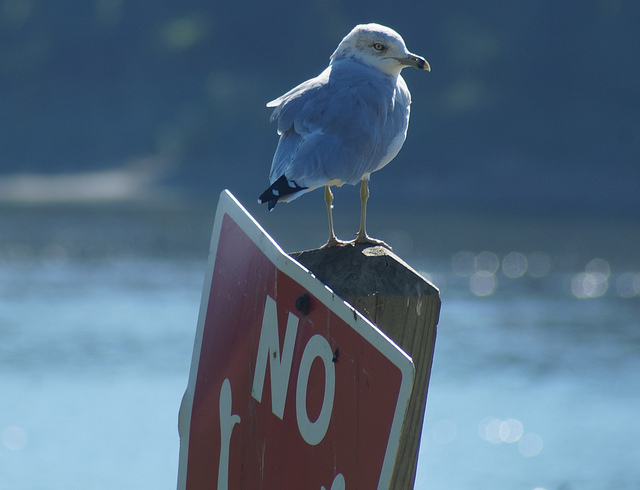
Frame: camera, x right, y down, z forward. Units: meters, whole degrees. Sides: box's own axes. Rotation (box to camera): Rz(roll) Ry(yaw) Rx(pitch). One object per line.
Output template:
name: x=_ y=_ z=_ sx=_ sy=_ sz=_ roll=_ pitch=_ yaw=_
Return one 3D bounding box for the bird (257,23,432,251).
bird: x=0.188 y=-0.799 z=13.109 sx=1.231 sy=2.340 sz=0.647 roll=2 pitch=-31 yaw=2
